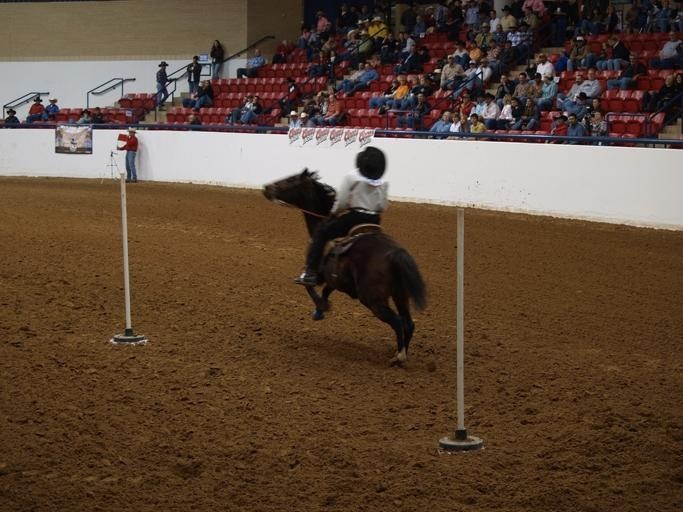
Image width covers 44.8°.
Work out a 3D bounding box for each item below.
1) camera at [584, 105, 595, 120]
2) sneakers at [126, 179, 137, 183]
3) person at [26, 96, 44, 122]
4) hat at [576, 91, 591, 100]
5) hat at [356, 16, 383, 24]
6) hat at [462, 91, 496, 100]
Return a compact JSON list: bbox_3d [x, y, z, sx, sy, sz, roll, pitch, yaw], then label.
[{"bbox_3d":[6.672,-3.877,22.407,0.274,0.385,0.169,2,-32,46],"label":"camera"},{"bbox_3d":[-7.889,-2.814,30.806,0.507,0.161,0.175,3,2,31],"label":"sneakers"},{"bbox_3d":[-14.369,-6.839,38.609,0.802,1.070,2.567,-2,13,-20],"label":"person"},{"bbox_3d":[6.754,-4.397,22.812,0.553,0.148,0.280,8,5,-20],"label":"hat"},{"bbox_3d":[1.111,-9.726,34.114,0.926,0.178,0.802,-1,2,18],"label":"hat"},{"bbox_3d":[4.192,-4.948,25.645,0.794,0.140,0.660,1,2,-16],"label":"hat"}]
